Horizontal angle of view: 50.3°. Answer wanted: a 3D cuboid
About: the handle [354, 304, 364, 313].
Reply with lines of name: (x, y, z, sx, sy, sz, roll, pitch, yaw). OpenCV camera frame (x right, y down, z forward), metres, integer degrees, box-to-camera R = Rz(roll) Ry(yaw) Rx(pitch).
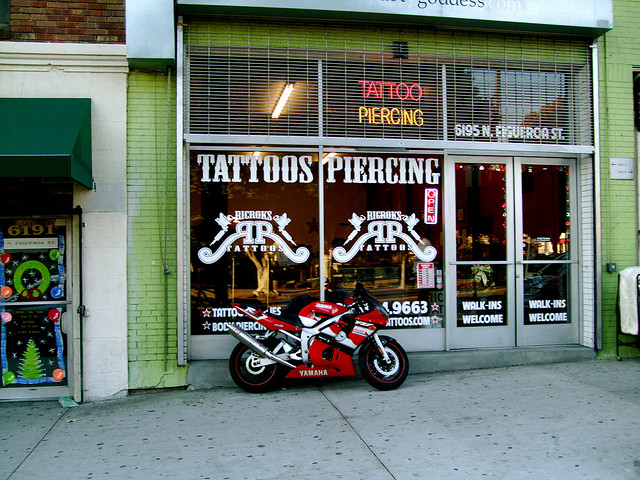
handle: (0.578, 1.014, 10.161, 0.139, 0.119, 0.031, -4, -5, -26)

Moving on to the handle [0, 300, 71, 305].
handle: (-4.281, 0.950, 10.261, 1.009, 0.054, 0.046, -3, 0, -6)

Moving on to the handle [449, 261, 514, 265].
handle: (2.700, 0.378, 11.344, 1.113, 0.062, 0.023, -3, 0, -10)
